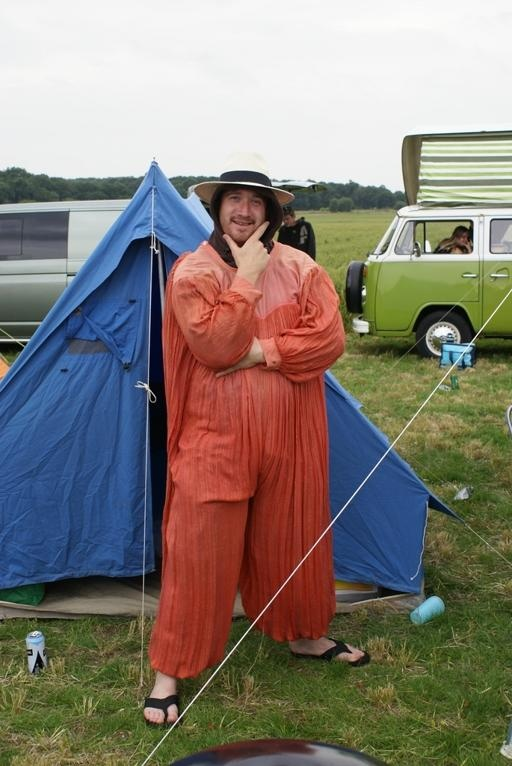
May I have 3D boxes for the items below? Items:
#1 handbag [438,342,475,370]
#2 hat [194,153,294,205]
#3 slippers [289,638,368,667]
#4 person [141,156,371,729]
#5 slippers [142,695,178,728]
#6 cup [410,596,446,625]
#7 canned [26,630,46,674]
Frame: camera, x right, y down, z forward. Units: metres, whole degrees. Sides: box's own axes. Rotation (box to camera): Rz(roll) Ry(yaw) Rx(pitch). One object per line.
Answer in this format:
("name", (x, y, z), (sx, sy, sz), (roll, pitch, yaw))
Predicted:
("handbag", (2.104, -0.281, 8.121), (0.432, 0.275, 0.255), (2, 6, 39))
("hat", (-0.041, -0.744, 2.721), (0.313, 0.118, 0.314), (0, 8, -3))
("slippers", (0.280, 1.054, 3.073), (0.284, 0.062, 0.103), (-1, 0, 13))
("person", (-0.060, 0.209, 2.757), (0.867, 1.875, 0.404), (-6, 11, -27))
("slippers", (-0.328, 1.113, 2.644), (0.118, 0.061, 0.100), (-1, 9, -5))
("cup", (0.780, 1.022, 3.492), (0.108, 0.099, 0.163), (-18, -12, 42))
("canned", (-0.868, 1.035, 3.030), (0.072, 0.145, 0.143), (-4, 10, -17))
